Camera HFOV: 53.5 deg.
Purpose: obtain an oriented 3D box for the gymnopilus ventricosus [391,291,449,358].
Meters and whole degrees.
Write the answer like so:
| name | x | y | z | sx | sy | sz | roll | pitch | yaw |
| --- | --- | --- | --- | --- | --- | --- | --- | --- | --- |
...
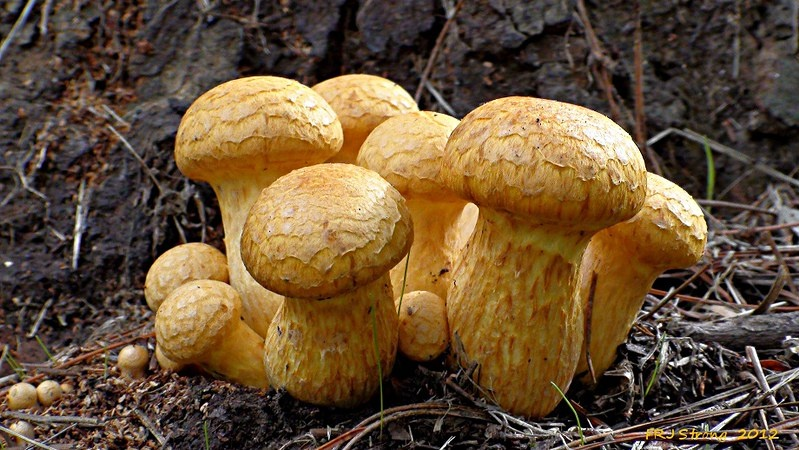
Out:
| name | x | y | z | sx | sy | sz | roll | pitch | yaw |
| --- | --- | --- | --- | --- | --- | --- | --- | --- | --- |
| gymnopilus ventricosus | 0.255 | 0.744 | 6.100 | 0.447 | 0.514 | 0.462 | -2 | 10 | 17 |
